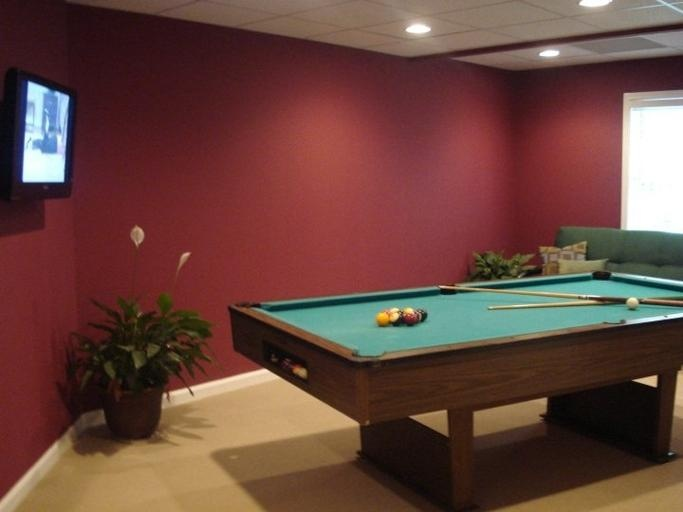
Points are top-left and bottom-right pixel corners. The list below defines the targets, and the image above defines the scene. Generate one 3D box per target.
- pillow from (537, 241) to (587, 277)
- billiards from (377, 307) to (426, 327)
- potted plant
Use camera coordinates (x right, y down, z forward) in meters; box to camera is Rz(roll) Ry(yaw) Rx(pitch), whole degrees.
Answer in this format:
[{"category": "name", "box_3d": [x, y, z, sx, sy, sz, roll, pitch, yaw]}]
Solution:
[{"category": "pillow", "box_3d": [2.147, 0.032, 5.252, 0.330, 0.335, 0.123, 3, -33, 27]}, {"category": "billiards", "box_3d": [0.309, 0.321, 2.848, 0.139, 0.046, 0.137, -4, 1, -18]}, {"category": "potted plant", "box_3d": [-1.424, 1.123, 3.711, 0.434, 0.316, 0.421, 12, -28, -32]}]
